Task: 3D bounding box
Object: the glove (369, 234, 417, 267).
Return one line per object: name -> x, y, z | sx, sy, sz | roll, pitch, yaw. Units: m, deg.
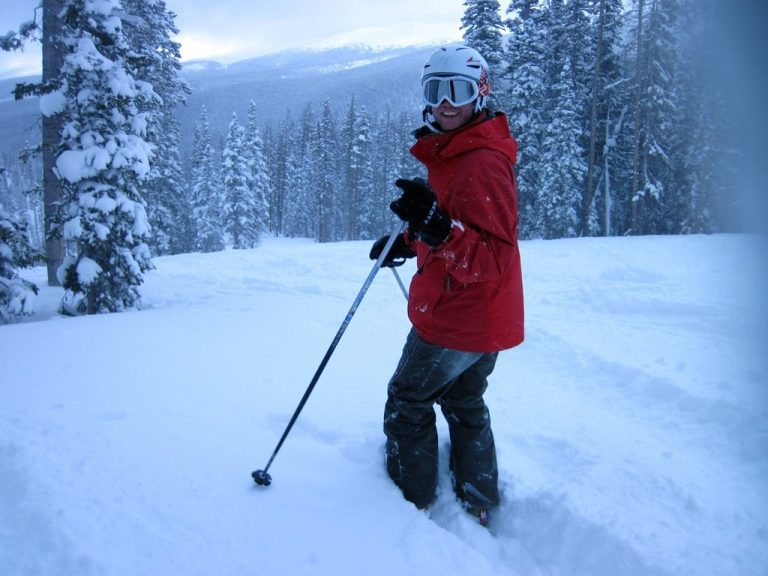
glove -> 0.116, -0.452, 7.887 | 0.498, 0.400, 0.199 | -35, -32, 16
